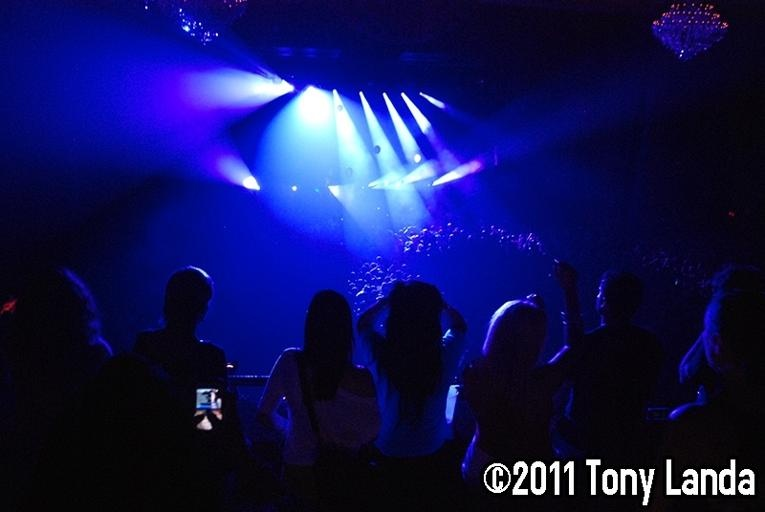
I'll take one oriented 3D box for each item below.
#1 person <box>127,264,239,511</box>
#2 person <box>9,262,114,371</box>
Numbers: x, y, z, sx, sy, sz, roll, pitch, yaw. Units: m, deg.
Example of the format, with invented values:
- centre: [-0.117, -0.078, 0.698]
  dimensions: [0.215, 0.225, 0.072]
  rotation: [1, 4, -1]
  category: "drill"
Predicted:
- centre: [-1.702, 1.108, 5.992]
  dimensions: [1.012, 2.168, 0.920]
  rotation: [7, -21, -21]
  category: "person"
- centre: [-2.956, 0.570, 6.100]
  dimensions: [0.703, 0.841, 0.973]
  rotation: [-7, -25, 19]
  category: "person"
